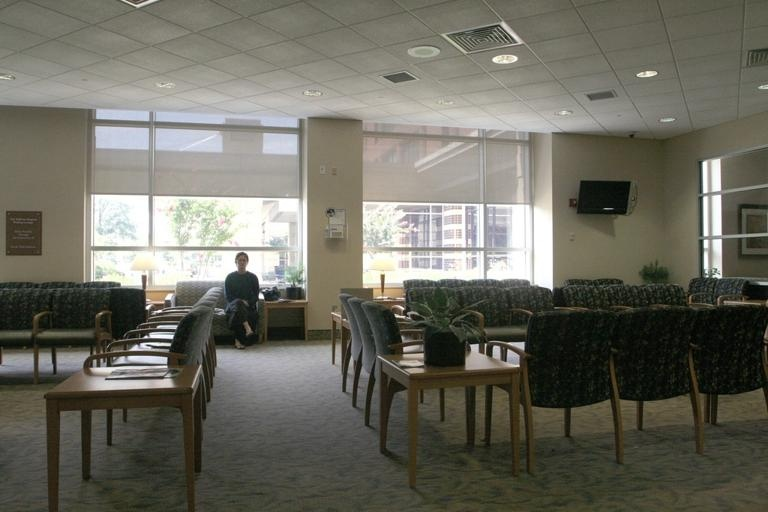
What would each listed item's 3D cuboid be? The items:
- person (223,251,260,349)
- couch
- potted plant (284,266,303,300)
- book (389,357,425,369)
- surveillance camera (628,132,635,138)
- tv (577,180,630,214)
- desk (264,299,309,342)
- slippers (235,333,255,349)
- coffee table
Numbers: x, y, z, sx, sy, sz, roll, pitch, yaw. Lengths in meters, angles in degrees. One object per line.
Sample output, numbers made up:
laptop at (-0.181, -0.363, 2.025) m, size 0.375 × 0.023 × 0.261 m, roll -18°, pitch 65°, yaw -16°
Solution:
person at (-2.334, 0.741, 9.174) m, size 0.551 × 1.532 × 0.638 m, roll -3°, pitch 9°, yaw -15°
couch at (-2.378, 0.802, 8.003) m, size 1.263 × 0.724 × 0.633 m, roll 1°, pitch -2°, yaw -6°
potted plant at (-1.601, 0.496, 10.102) m, size 0.311 × 0.589 × 0.401 m, roll -2°, pitch 9°, yaw -8°
book at (0.208, 0.887, 4.637) m, size 0.250 × 0.029 × 0.353 m, roll -1°, pitch 7°, yaw -4°
surveillance camera at (4.907, -2.398, 10.994) m, size 0.068 × 0.071 × 0.187 m, roll -1°, pitch 7°, yaw 18°
tv at (4.300, -1.153, 11.062) m, size 1.289 × 0.752 × 0.635 m, roll 1°, pitch 5°, yaw 1°
desk at (-1.700, 1.131, 9.883) m, size 0.825 × 0.653 × 0.755 m, roll 0°, pitch -5°, yaw -7°
slippers at (-2.290, 1.367, 9.211) m, size 0.310 × 0.297 × 0.554 m, roll -2°, pitch 8°, yaw -12°
coffee table at (-2.043, 1.367, 4.402) m, size 1.217 × 0.848 × 1.120 m, roll 0°, pitch -2°, yaw -4°
